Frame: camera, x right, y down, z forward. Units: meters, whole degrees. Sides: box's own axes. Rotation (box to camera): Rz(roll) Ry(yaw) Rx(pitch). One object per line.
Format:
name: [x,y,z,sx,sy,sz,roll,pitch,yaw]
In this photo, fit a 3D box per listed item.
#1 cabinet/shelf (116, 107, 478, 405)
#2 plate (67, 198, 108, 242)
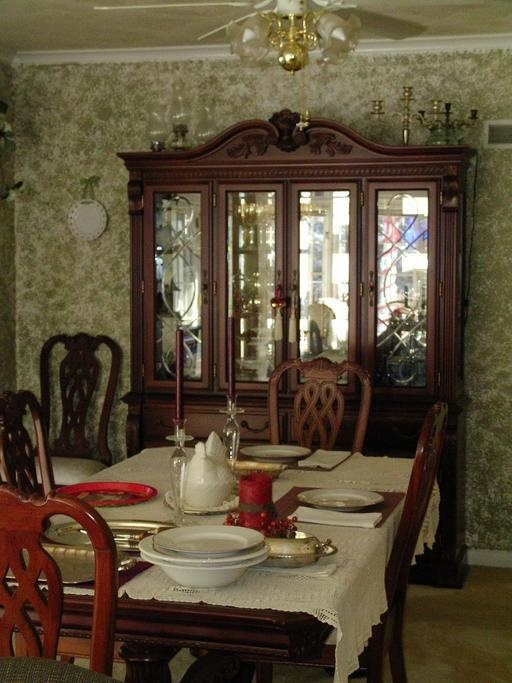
cabinet/shelf: [0.244,-0.384,3.223,1.778,1.483,0.487,0,4,11]
plate: [-1.020,-0.734,3.895,0.250,0.231,0.044,4,10,15]
